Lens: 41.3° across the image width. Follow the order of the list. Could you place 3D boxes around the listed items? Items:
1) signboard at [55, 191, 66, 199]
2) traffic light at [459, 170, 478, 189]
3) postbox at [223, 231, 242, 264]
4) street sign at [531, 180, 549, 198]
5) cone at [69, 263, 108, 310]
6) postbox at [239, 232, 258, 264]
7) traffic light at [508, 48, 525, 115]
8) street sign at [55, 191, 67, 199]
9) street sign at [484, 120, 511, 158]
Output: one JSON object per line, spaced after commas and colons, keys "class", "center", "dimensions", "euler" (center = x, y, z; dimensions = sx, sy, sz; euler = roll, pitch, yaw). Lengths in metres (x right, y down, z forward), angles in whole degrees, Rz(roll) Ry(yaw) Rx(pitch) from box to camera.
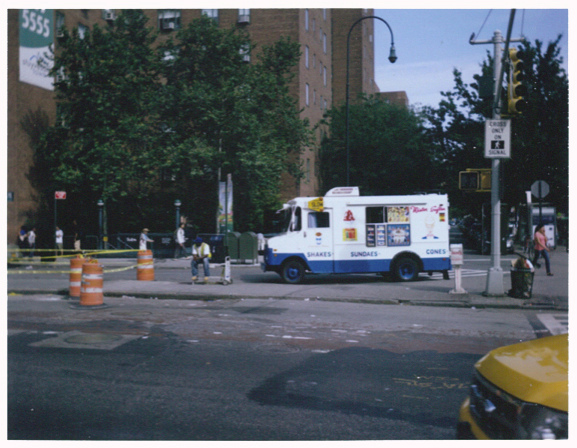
{"class": "signboard", "center": [-11.339, -1.464, 38.165], "dimensions": [0.657, 0.190, 0.658], "euler": [1, 10, -1]}
{"class": "traffic light", "center": [5.721, -1.424, 24.236], "dimensions": [0.538, 0.502, 0.359], "euler": [3, 5, 18]}
{"class": "postbox", "center": [-2.402, 0.878, 32.121], "dimensions": [0.978, 1.697, 0.958], "euler": [-1, 1, 1]}
{"class": "street sign", "center": [12.069, -1.669, 36.840], "dimensions": [0.822, 0.791, 0.190], "euler": [4, -1, -9]}
{"class": "cone", "center": [-5.403, 1.650, 20.993], "dimensions": [1.119, 1.260, 1.191], "euler": [6, 6, 36]}
{"class": "postbox", "center": [-1.693, 0.998, 32.578], "dimensions": [0.801, 1.314, 0.862], "euler": [-2, 2, 18]}
{"class": "traffic light", "center": [6.317, -3.933, 21.171], "dimensions": [0.470, 1.816, 0.677], "euler": [2, 12, 16]}
{"class": "street sign", "center": [-11.412, -1.482, 38.474], "dimensions": [0.723, 0.184, 0.712], "euler": [2, 15, 6]}
{"class": "street sign", "center": [6.062, -2.463, 22.110], "dimensions": [0.753, 1.104, 0.395], "euler": [0, 11, 5]}
